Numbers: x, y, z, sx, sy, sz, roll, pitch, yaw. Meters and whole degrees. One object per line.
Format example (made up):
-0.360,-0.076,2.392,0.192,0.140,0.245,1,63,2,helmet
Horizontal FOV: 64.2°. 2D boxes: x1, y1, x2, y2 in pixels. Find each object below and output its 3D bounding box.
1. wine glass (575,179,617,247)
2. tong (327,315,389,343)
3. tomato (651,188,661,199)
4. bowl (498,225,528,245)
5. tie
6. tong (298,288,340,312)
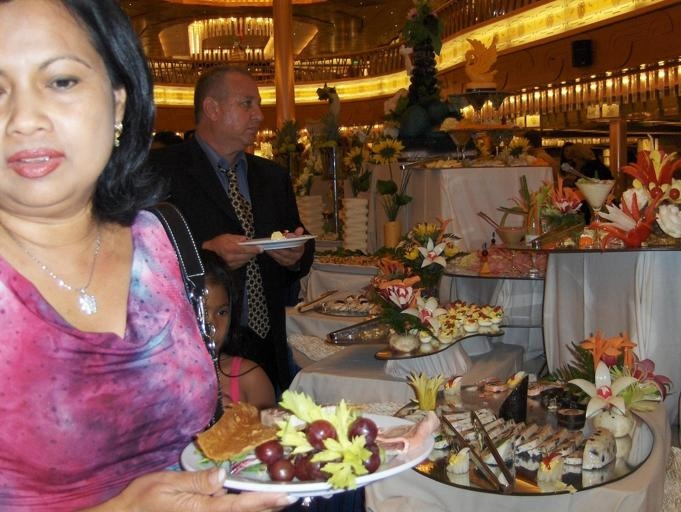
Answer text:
1.439,-0.280,2.951,0.198,0.257,0.212,-1,7,-8,wine glass
0.086,0.370,2.687,0.280,0.115,0.133,-11,1,-7,tong
1.438,-0.286,2.485,0.045,0.045,0.025,39,-21,4,tomato
1.092,-0.135,3.467,0.136,0.072,0.135,-4,9,1,bowl
-0.513,-0.010,2.889,0.230,0.962,0.085,13,23,37,tie
-0.168,0.305,3.773,0.096,0.059,0.331,-28,5,29,tong
